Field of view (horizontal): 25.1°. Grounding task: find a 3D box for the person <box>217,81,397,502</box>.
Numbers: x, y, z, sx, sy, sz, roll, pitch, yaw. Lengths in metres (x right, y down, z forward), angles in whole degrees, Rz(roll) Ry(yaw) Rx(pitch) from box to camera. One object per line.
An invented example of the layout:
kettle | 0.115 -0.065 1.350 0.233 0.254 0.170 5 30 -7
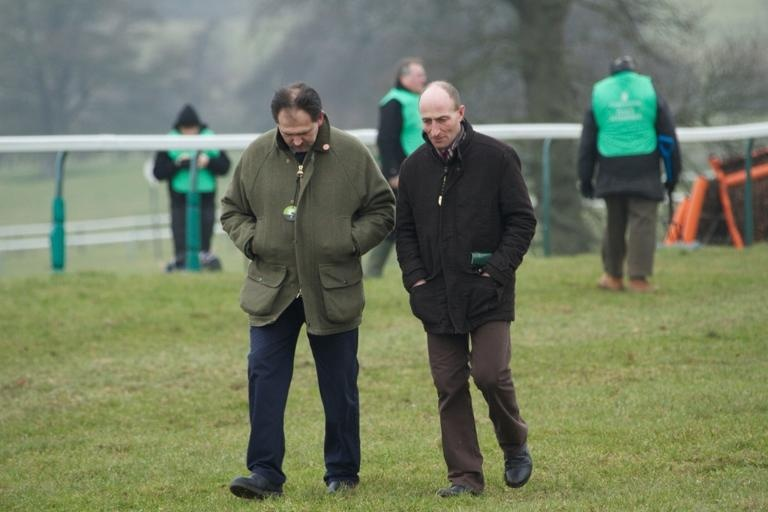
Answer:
person | -0.480 0.312 11.097 1.066 2.322 0.660 -3 9 -7

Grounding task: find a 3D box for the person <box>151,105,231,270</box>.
person | -1.651 -0.543 15.004 0.599 1.549 0.459 -1 23 -6

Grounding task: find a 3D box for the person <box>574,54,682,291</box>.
person | 1.708 -0.545 12.028 0.327 1.671 0.822 -8 11 -33

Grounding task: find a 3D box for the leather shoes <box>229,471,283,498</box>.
leather shoes | -0.807 1.468 10.989 0.315 0.149 0.160 14 40 -12

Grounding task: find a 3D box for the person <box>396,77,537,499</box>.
person | 0.541 0.197 10.992 0.896 2.572 0.572 -2 9 0

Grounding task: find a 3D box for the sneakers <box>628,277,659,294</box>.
sneakers | 1.811 0.214 11.946 0.191 0.149 0.074 -1 5 20

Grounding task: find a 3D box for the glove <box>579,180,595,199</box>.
glove | 1.487 -0.484 12.517 0.081 0.129 0.127 -1 32 5

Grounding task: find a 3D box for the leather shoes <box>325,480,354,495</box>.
leather shoes | -0.269 1.486 11.047 0.187 0.091 0.071 8 -9 -17

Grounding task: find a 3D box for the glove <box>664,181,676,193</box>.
glove | 1.966 -0.467 11.785 0.049 0.077 0.022 -2 -3 12

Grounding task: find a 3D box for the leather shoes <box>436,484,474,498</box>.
leather shoes | 0.463 1.499 10.925 0.227 0.110 0.090 4 -14 -1
